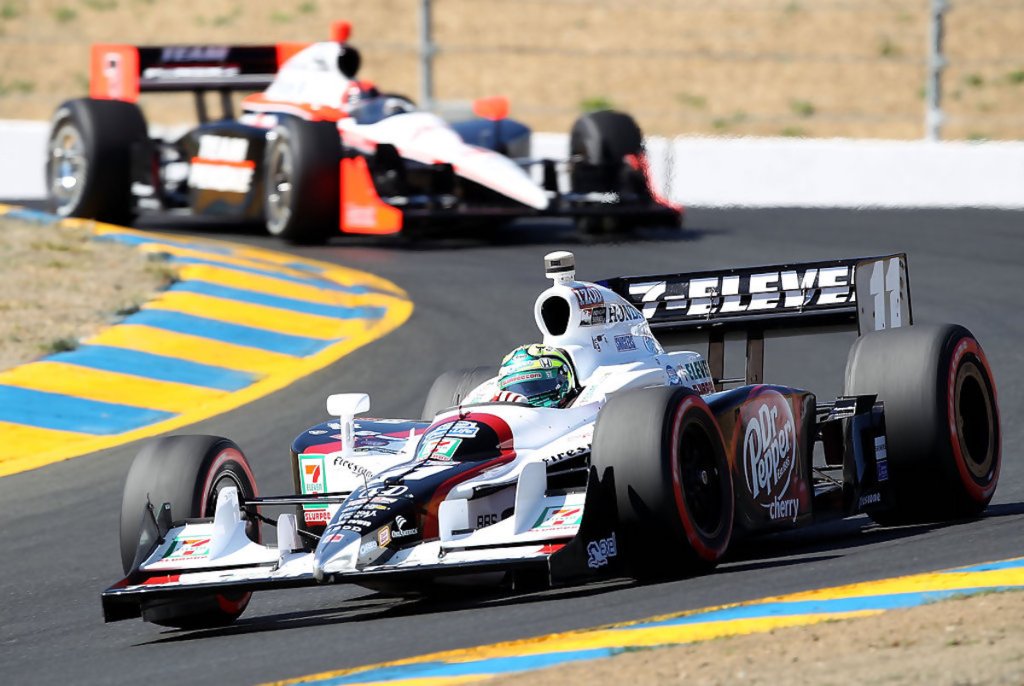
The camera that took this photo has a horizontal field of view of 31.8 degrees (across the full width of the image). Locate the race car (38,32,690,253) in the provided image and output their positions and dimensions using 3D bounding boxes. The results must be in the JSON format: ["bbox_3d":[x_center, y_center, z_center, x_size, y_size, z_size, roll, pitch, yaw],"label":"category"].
[{"bbox_3d":[-1.734,-2.220,19.605,4.374,1.806,6.737,-9,13,-40],"label":"race car"}]

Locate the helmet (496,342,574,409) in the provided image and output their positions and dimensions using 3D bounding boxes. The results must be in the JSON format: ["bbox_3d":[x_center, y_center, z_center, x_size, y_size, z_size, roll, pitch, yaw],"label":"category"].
[{"bbox_3d":[0.157,0.188,11.856,0.432,0.389,0.544,-4,8,17],"label":"helmet"}]
